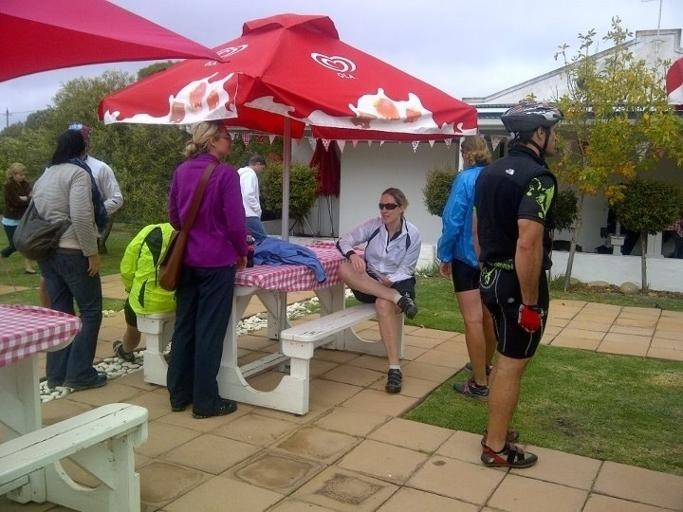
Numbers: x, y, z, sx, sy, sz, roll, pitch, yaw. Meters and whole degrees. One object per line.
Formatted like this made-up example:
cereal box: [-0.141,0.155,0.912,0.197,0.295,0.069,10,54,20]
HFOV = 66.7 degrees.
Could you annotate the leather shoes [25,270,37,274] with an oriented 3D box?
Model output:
leather shoes: [-5.885,0.299,9.769,0.233,0.101,0.083,-3,3,32]

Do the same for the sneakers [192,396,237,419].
sneakers: [-1.050,1.210,4.255,0.332,0.164,0.130,-7,8,-27]

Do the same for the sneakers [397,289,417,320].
sneakers: [0.608,0.466,4.874,0.104,0.122,0.360,22,16,-9]

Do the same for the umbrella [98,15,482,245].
umbrella: [-0.295,-1.400,5.185,2.565,1.815,2.718,3,13,5]

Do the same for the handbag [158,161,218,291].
handbag: [-1.212,-0.243,4.075,0.463,0.997,0.165,-2,8,-18]

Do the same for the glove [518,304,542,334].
glove: [1.205,0.390,3.254,0.219,0.185,0.080,-4,9,-32]

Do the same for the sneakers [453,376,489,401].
sneakers: [1.146,1.175,4.638,0.336,0.157,0.130,9,12,44]

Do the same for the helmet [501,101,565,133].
helmet: [1.262,-0.926,3.419,0.311,0.155,0.239,-4,15,8]

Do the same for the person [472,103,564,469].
person: [1.125,0.210,3.432,0.497,2.416,0.439,7,10,39]

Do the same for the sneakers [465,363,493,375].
sneakers: [1.333,1.093,5.053,0.277,0.130,0.104,7,4,25]

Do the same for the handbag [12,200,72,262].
handbag: [-2.534,-0.209,4.312,0.474,0.483,0.244,4,9,22]

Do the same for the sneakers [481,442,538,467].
sneakers: [1.117,1.351,3.473,0.348,0.180,0.161,-2,5,-4]

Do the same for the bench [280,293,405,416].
bench: [0.028,0.864,4.957,1.001,0.658,1.750,3,9,11]
